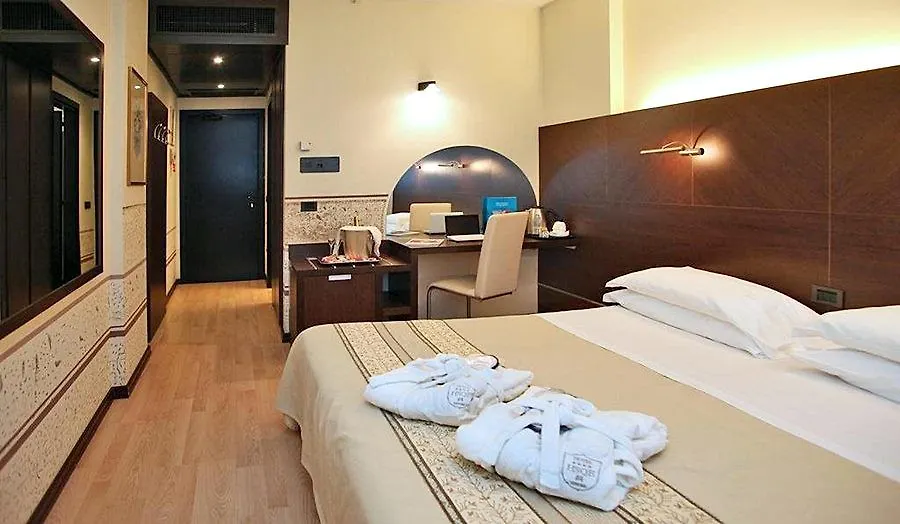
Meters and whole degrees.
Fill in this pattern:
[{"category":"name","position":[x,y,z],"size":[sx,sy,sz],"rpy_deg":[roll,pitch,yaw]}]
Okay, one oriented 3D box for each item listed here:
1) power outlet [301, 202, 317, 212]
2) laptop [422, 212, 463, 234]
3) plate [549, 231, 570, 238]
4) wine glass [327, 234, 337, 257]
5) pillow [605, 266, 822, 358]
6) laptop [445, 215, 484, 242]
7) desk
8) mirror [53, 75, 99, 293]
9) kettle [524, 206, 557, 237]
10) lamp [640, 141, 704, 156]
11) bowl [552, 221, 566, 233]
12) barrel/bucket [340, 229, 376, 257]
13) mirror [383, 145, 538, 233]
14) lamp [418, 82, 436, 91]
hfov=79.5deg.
[{"category":"power outlet","position":[-1.338,-0.526,5.121],"size":[0.117,0.100,0.029],"rpy_deg":[-2,4,-10]},{"category":"laptop","position":[-0.117,-0.388,5.341],"size":[0.315,0.191,0.214],"rpy_deg":[0,0,-15]},{"category":"plate","position":[1.048,-0.271,5.117],"size":[0.197,0.059,0.127],"rpy_deg":[1,11,-4]},{"category":"wine glass","position":[-1.117,-0.166,5.105],"size":[0.100,0.244,0.100],"rpy_deg":[-5,34,-15]},{"category":"pillow","position":[1.636,0.265,3.421],"size":[0.515,0.213,0.805],"rpy_deg":[-12,17,-36]},{"category":"laptop","position":[0.157,-0.340,5.189],"size":[0.375,0.217,0.282],"rpy_deg":[-1,4,-19]},{"category":"desk","position":[0.126,0.150,5.293],"size":[1.149,0.662,1.120],"rpy_deg":[-2,4,-22]},{"category":"mirror","position":[-2.282,-0.494,3.317],"size":[0.116,1.152,0.772],"rpy_deg":[-3,13,-20]},{"category":"kettle","position":[0.895,-0.403,5.370],"size":[0.374,0.355,0.236],"rpy_deg":[1,2,-25]},{"category":"lamp","position":[1.684,-0.869,4.143],"size":[0.072,0.098,0.582],"rpy_deg":[-5,12,-27]},{"category":"bowl","position":[1.042,-0.332,5.168],"size":[0.115,0.087,0.127],"rpy_deg":[-7,1,0]},{"category":"barrel/bucket","position":[-0.826,-0.165,4.807],"size":[0.277,0.195,0.250],"rpy_deg":[0,-1,24]},{"category":"mirror","position":[0.031,-0.728,5.352],"size":[1.008,0.659,0.015],"rpy_deg":[2,5,-13]},{"category":"lamp","position":[-0.240,-1.698,5.193],"size":[0.176,0.087,0.074],"rpy_deg":[7,13,28]}]
